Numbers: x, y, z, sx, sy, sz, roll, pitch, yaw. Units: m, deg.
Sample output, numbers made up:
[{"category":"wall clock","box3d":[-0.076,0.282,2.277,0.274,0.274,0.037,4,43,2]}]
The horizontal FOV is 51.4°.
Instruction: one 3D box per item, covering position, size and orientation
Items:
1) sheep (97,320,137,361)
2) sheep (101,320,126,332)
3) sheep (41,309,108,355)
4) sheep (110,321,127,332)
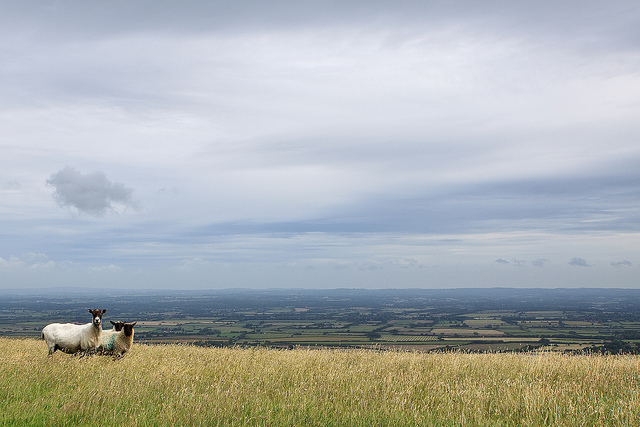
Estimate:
[{"category":"sheep","box3d":[-9.966,6.408,32.642,2.930,2.020,1.104,-12,-13,32]},{"category":"sheep","box3d":[-10.235,5.515,32.934,1.669,0.757,0.703,-8,-10,33]},{"category":"sheep","box3d":[-11.798,6.082,32.255,3.776,2.643,1.364,-4,-2,17]},{"category":"sheep","box3d":[-9.987,5.466,32.684,0.686,0.380,0.789,6,-5,-24]}]
